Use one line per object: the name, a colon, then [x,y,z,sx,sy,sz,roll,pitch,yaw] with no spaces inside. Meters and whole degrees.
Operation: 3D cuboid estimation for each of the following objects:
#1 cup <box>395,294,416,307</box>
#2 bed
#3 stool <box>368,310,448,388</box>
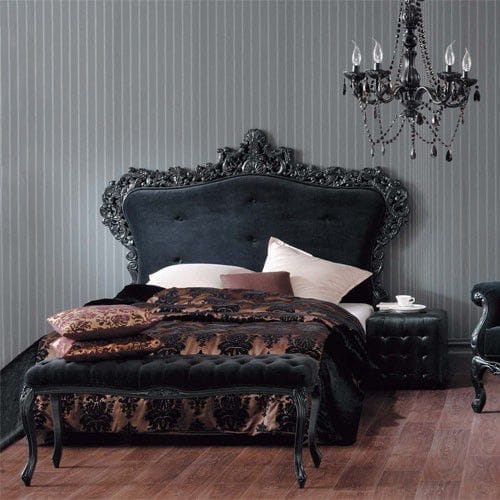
cup: [1.094,0.362,4.417,0.133,0.055,0.093,1,-3,2]
bed: [-0.220,0.178,3.868,1.957,1.491,2.373,1,10,12]
stool: [1.029,0.651,4.170,0.502,0.411,0.488,-1,-4,6]
